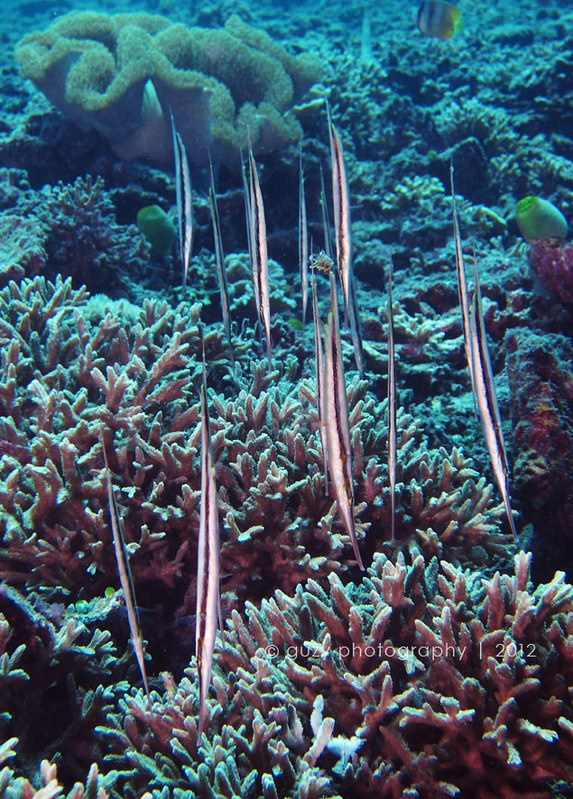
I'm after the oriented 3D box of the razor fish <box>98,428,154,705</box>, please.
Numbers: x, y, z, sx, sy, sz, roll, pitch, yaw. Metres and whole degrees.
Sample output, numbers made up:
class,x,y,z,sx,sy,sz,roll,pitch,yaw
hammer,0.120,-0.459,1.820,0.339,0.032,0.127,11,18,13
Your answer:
class,x,y,z,sx,sy,sz,roll,pitch,yaw
razor fish,-0.901,0.993,4.152,0.053,1.495,0.151,-6,-6,-20
